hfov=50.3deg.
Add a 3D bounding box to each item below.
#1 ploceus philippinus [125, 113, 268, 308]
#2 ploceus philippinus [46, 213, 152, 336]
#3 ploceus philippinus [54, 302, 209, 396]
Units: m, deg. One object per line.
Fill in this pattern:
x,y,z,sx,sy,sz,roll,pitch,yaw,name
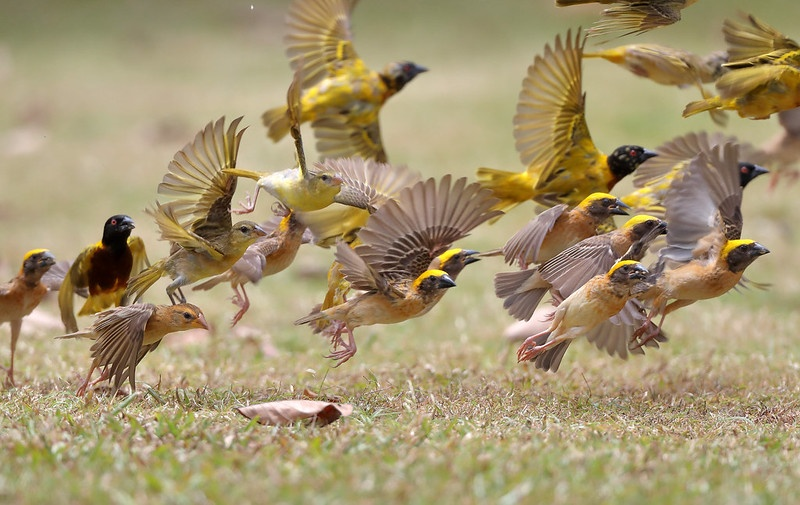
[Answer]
-1.427,-0.279,5.979,0.930,1.318,0.423,-1,14,-10,ploceus philippinus
-2.273,0.171,6.696,0.818,0.625,1.048,6,-18,-17,ploceus philippinus
-1.965,0.633,6.100,0.977,0.589,0.712,7,9,-25,ploceus philippinus
